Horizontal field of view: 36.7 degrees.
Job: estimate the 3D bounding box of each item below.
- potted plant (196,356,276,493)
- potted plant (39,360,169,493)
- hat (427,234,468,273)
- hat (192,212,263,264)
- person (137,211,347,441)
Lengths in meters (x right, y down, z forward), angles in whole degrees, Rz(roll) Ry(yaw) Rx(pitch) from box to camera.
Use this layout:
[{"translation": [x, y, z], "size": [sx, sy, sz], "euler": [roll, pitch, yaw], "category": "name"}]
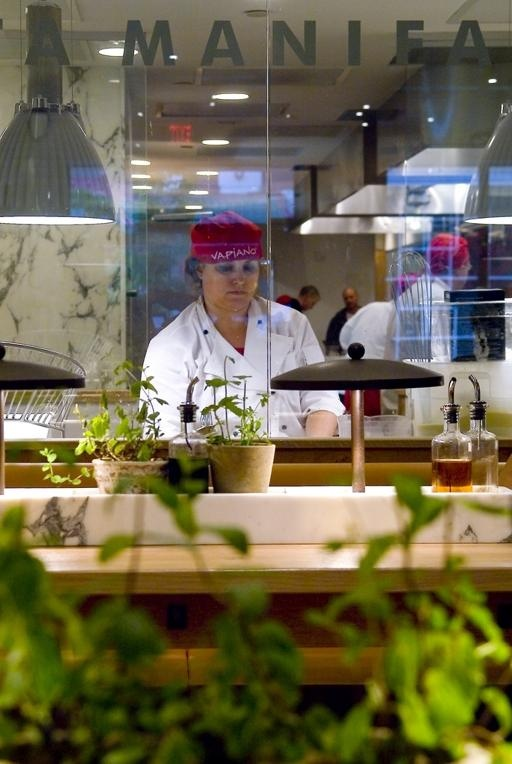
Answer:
[{"translation": [-0.040, 0.085, 1.524], "size": [0.157, 0.256, 0.130], "euler": [1, 2, -32], "category": "potted plant"}, {"translation": [-0.267, 0.117, 1.533], "size": [0.201, 0.222, 0.163], "euler": [10, -16, -38], "category": "potted plant"}, {"translation": [0.546, -0.366, 2.196], "size": [0.121, 0.130, 0.104], "euler": [-5, 12, 1], "category": "hat"}, {"translation": [-0.083, -0.395, 2.166], "size": [0.162, 0.101, 0.155], "euler": [-4, 6, -17], "category": "hat"}, {"translation": [-0.050, -0.077, 2.232], "size": [0.543, 0.751, 0.418], "euler": [-6, -3, -18], "category": "person"}]
